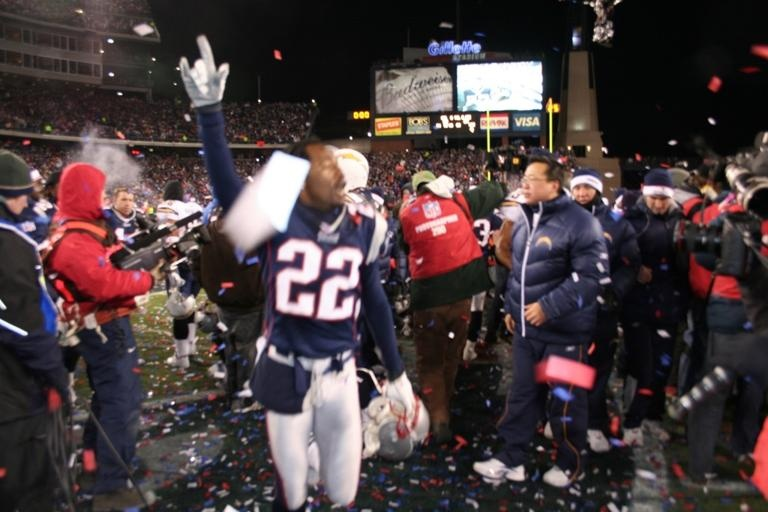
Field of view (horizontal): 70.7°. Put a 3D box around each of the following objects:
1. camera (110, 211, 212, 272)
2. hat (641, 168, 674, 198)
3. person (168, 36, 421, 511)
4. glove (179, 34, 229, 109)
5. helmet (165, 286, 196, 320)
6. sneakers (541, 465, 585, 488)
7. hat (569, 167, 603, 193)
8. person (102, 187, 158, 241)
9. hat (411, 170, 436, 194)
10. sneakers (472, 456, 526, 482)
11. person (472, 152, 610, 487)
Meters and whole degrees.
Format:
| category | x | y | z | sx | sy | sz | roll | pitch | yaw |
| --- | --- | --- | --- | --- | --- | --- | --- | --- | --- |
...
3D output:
| category | x | y | z | sx | sy | sz | roll | pitch | yaw |
| --- | --- | --- | --- | --- | --- | --- | --- | --- | --- |
| camera | -2.311 | -0.141 | 5.636 | 0.930 | 0.403 | 0.275 | -25 | 3 | -14 |
| hat | 3.179 | -0.848 | 6.271 | 0.260 | 0.257 | 0.412 | 7 | -6 | 24 |
| person | -0.429 | 0.533 | 4.009 | 1.090 | 2.669 | 0.669 | -13 | 19 | -38 |
| glove | -1.183 | -1.208 | 3.568 | 0.289 | 0.438 | 0.223 | -6 | 15 | -18 |
| helmet | -3.094 | 0.708 | 8.099 | 0.394 | 0.474 | 0.517 | 6 | 2 | -7 |
| sneakers | 1.807 | 2.237 | 5.525 | 0.349 | 0.154 | 0.189 | 6 | -2 | -27 |
| hat | 2.454 | -0.886 | 6.587 | 0.315 | 0.249 | 0.307 | 20 | -14 | -34 |
| person | -4.621 | -0.824 | 9.622 | 0.690 | 0.422 | 0.969 | 0 | 30 | -7 |
| hat | 0.551 | -0.947 | 6.945 | 0.372 | 0.287 | 0.622 | 2 | 14 | 19 |
| sneakers | 1.192 | 2.182 | 5.593 | 0.473 | 0.213 | 0.228 | 11 | -10 | 0 |
| person | 1.674 | 0.660 | 5.507 | 1.041 | 3.233 | 1.066 | 5 | 16 | 22 |
